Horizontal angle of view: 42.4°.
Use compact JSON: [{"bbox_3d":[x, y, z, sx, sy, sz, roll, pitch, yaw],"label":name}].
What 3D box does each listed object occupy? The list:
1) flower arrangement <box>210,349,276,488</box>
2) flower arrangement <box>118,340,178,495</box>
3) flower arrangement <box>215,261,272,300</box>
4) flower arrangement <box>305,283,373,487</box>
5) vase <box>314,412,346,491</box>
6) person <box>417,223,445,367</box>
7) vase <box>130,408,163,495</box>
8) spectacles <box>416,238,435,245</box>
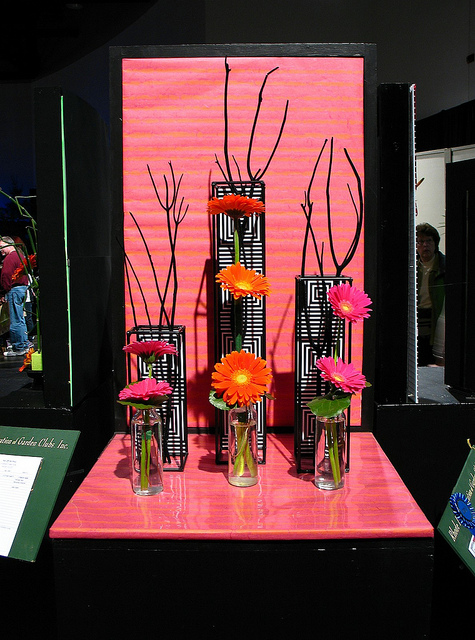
[{"bbox_3d":[0.013,0.222,1.369,0.127,0.299,0.101,0,9,15],"label":"flower arrangement"},{"bbox_3d":[-0.198,0.208,1.393,0.123,0.344,0.201,-2,9,-6],"label":"flower arrangement"},{"bbox_3d":[0.009,-0.077,1.329,0.103,0.086,0.104,5,12,34],"label":"flower arrangement"},{"bbox_3d":[0.234,0.142,1.365,0.132,0.448,0.210,2,10,18],"label":"flower arrangement"},{"bbox_3d":[0.208,0.246,1.374,0.060,0.265,0.062,-4,8,-24],"label":"vase"},{"bbox_3d":[0.655,-0.108,2.091,0.089,0.414,0.708,2,10,17],"label":"person"},{"bbox_3d":[-0.204,0.286,1.367,0.070,0.193,0.072,-3,9,-11],"label":"vase"},{"bbox_3d":[0.712,-0.300,2.329,0.024,0.024,0.073,-6,11,-28],"label":"spectacles"}]
